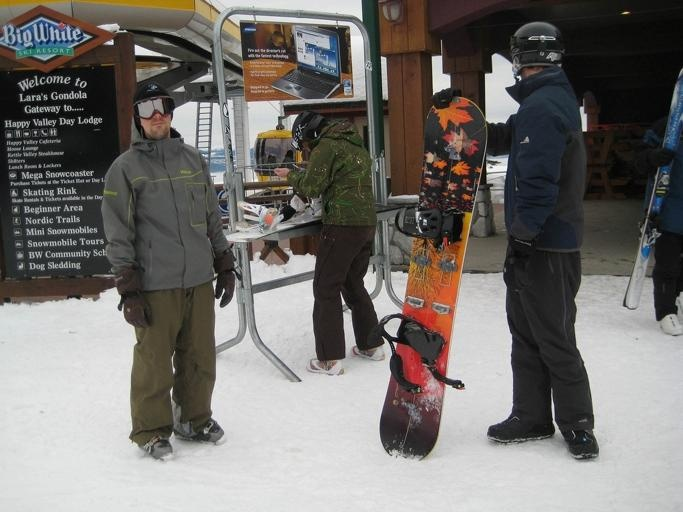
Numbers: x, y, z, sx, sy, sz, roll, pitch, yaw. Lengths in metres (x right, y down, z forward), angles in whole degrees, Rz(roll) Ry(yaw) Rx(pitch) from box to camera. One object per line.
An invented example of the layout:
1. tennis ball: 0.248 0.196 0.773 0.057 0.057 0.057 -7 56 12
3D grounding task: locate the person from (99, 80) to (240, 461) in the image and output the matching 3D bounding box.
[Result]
1. person: -0.971 0.222 3.488 0.763 1.794 0.479 -11 16 -31

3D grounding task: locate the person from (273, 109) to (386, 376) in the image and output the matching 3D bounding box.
1. person: -0.036 -0.101 4.527 0.714 1.937 0.586 -4 14 -4

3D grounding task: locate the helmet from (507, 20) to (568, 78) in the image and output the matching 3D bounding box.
1. helmet: 1.110 -1.166 3.374 0.312 0.288 0.267 9 21 31

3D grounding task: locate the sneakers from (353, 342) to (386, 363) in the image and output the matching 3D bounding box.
1. sneakers: 0.232 0.783 4.834 0.125 0.115 0.280 -7 12 -44

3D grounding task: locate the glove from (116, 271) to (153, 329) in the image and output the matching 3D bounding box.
1. glove: -1.145 0.241 3.276 0.162 0.348 0.144 -8 15 -22

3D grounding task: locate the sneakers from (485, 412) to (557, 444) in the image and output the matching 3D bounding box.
1. sneakers: 1.029 0.999 3.498 0.427 0.180 0.143 1 0 -6

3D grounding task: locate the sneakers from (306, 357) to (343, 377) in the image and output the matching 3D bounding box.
1. sneakers: -0.131 0.825 4.509 0.243 0.105 0.111 7 10 28

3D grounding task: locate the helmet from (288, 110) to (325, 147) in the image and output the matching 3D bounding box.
1. helmet: -0.221 -0.945 4.559 0.312 0.287 0.247 5 5 40

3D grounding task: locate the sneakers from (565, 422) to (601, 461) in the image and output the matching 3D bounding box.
1. sneakers: 1.308 1.011 3.247 0.089 0.105 0.258 -8 6 9

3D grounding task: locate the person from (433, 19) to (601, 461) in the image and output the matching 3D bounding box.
1. person: 1.138 -0.096 3.350 0.626 2.389 0.773 0 14 13

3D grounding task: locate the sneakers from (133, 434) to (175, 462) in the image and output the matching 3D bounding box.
1. sneakers: -1.079 1.084 3.434 0.097 0.105 0.260 -6 12 -39

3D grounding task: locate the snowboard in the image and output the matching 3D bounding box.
1. snowboard: 0.554 0.145 3.681 0.594 2.178 0.546 7 0 32

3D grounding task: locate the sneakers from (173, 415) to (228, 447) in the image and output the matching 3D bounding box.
1. sneakers: -0.842 1.044 3.644 0.360 0.158 0.128 11 1 10
